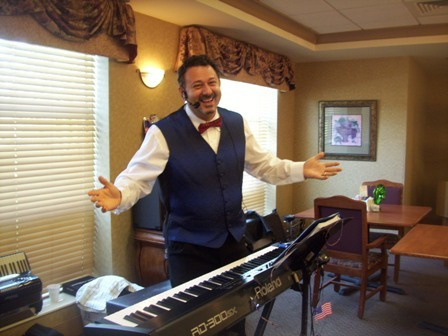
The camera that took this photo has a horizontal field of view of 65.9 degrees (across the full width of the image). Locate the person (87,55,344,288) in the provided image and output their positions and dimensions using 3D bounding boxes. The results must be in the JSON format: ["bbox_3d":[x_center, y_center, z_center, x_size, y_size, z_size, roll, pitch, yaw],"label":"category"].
[{"bbox_3d":[-0.119,0.011,2.043,1.287,1.325,0.408,-8,4,-24],"label":"person"}]

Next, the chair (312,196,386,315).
[{"bbox_3d":[1.349,0.890,3.733,0.648,1.205,0.679,2,3,42],"label":"chair"}]

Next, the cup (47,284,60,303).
[{"bbox_3d":[-1.529,1.136,3.119,0.089,0.151,0.055,-7,4,-22],"label":"cup"}]

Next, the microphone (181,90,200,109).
[{"bbox_3d":[-0.204,-0.403,2.026,0.059,0.126,0.193,-7,4,-24],"label":"microphone"}]

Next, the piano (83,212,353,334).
[{"bbox_3d":[0.052,0.524,1.732,0.592,0.268,1.336,-2,6,45],"label":"piano"}]
